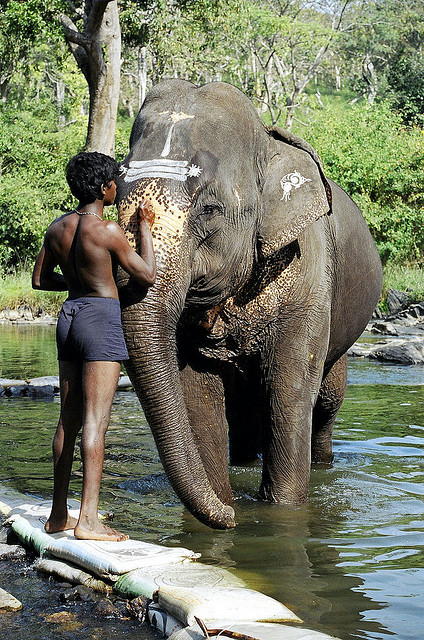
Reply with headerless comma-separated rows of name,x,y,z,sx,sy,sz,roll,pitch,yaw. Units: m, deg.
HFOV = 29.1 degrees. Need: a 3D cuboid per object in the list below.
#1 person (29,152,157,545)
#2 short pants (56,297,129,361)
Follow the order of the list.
person,-0.496,0.118,3.472,0.295,1.622,0.775,-1,3,-37
short pants,-0.502,0.033,3.436,0.415,0.261,0.224,2,0,44
